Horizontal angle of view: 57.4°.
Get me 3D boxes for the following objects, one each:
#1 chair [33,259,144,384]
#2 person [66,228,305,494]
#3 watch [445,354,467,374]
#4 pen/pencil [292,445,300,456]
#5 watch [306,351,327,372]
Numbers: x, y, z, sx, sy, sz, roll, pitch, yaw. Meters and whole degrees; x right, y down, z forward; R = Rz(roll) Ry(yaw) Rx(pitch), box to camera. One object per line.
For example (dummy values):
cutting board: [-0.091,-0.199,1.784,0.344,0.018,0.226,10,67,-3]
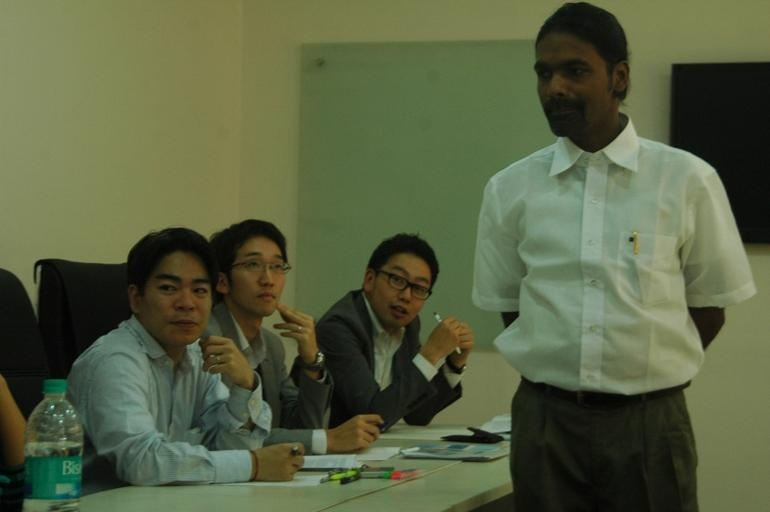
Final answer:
chair: [-1.072,0.252,2.783,0.398,0.509,0.404,-1,-11,-16]
person: [-0.673,0.330,2.330,0.589,0.799,0.791,-1,-2,-41]
watch: [0.313,0.470,3.060,0.071,0.096,0.040,-1,-7,13]
pen/pencil: [-0.277,0.605,2.167,0.022,0.033,0.030,2,0,0]
watch: [-0.272,0.417,2.754,0.059,0.041,0.069,3,-13,-44]
